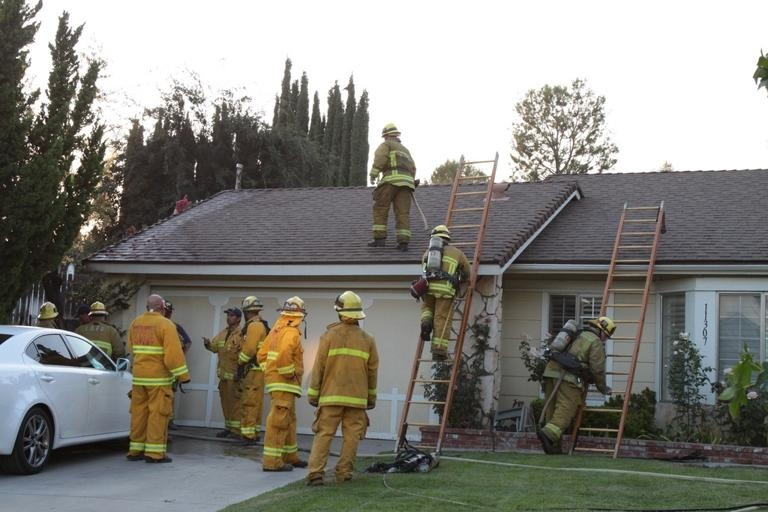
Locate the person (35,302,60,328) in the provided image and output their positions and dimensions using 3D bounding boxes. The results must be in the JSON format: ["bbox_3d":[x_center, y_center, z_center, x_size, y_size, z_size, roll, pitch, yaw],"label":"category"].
[{"bbox_3d":[-6.102,1.067,14.062,0.513,0.402,0.708,1,-1,-11],"label":"person"}]

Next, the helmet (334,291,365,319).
[{"bbox_3d":[-0.524,0.705,11.089,0.364,0.292,0.463,1,2,-32],"label":"helmet"}]

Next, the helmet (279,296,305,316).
[{"bbox_3d":[-1.387,0.801,11.936,0.320,0.270,0.437,5,-9,2],"label":"helmet"}]

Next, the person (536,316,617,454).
[{"bbox_3d":[3.244,2.165,13.339,1.113,2.471,0.877,1,-12,16],"label":"person"}]

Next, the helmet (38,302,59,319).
[{"bbox_3d":[-6.003,0.992,13.912,0.336,0.226,0.401,-1,1,-25],"label":"helmet"}]

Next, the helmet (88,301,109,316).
[{"bbox_3d":[-5.328,0.995,14.543,0.269,0.213,0.359,3,-9,-12],"label":"helmet"}]

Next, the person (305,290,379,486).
[{"bbox_3d":[-0.582,1.837,10.869,0.943,2.681,0.416,6,-12,-4],"label":"person"}]

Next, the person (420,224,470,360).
[{"bbox_3d":[1.030,0.642,13.402,0.786,2.290,0.602,7,-12,-9],"label":"person"}]

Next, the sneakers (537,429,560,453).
[{"bbox_3d":[2.735,3.090,13.036,0.482,0.203,0.162,55,-19,-27],"label":"sneakers"}]

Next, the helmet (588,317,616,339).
[{"bbox_3d":[3.812,1.217,13.606,0.476,0.275,0.342,28,1,2],"label":"helmet"}]

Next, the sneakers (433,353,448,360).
[{"bbox_3d":[0.957,1.722,13.246,0.260,0.108,0.176,5,-12,-1],"label":"sneakers"}]

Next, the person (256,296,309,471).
[{"bbox_3d":[-1.575,1.941,11.813,0.664,2.600,0.919,6,-12,-5],"label":"person"}]

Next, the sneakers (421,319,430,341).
[{"bbox_3d":[0.707,1.262,13.246,0.118,0.333,0.136,2,7,4],"label":"sneakers"}]

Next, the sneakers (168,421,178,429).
[{"bbox_3d":[-4.297,3.457,15.802,0.233,0.148,0.237,2,-2,-19],"label":"sneakers"}]

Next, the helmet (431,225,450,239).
[{"bbox_3d":[0.983,-0.408,13.582,0.228,0.253,0.294,11,9,-12],"label":"helmet"}]

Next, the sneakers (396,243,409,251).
[{"bbox_3d":[0.359,-0.171,15.372,0.124,0.145,0.338,1,3,-2],"label":"sneakers"}]

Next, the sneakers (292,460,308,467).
[{"bbox_3d":[-1.335,3.256,12.201,0.275,0.131,0.093,-1,0,-13],"label":"sneakers"}]

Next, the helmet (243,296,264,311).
[{"bbox_3d":[-2.396,0.854,13.873,0.337,0.221,0.242,-7,-4,39],"label":"helmet"}]
